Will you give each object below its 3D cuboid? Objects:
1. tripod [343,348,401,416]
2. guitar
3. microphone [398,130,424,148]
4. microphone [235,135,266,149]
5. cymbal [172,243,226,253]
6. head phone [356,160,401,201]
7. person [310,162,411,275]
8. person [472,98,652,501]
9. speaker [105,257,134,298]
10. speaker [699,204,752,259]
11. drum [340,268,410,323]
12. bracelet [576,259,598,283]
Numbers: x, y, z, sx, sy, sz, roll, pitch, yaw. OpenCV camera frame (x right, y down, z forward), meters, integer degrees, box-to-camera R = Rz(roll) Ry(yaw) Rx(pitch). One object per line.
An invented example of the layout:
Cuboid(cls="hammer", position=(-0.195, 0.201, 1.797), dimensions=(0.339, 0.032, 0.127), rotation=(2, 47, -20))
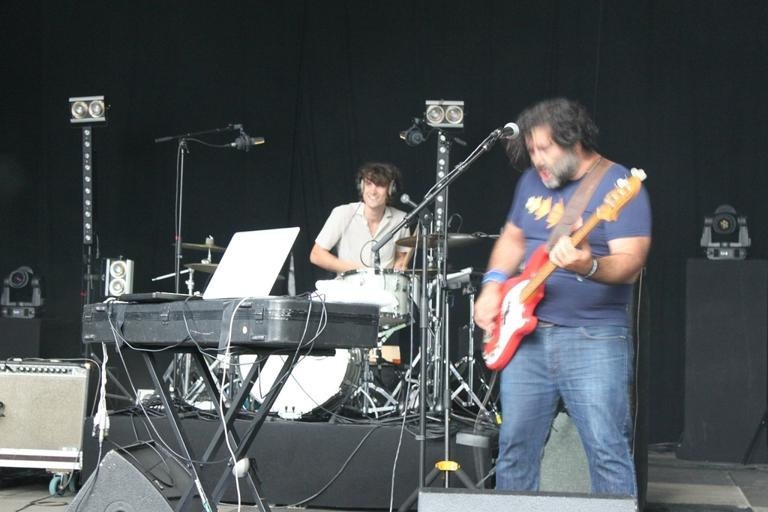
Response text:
Cuboid(cls="tripod", position=(-0.106, 1.013, 9.869), dimensions=(0.186, 0.558, 0.413), rotation=(0, -6, 37))
Cuboid(cls="guitar", position=(1.227, 0.111, 8.125), dimensions=(0.181, 1.592, 0.564), rotation=(19, 29, -21))
Cuboid(cls="microphone", position=(0.216, -0.907, 9.179), dimensions=(0.142, 0.110, 0.193), rotation=(0, 3, -24))
Cuboid(cls="microphone", position=(-1.186, -1.009, 10.759), dimensions=(0.178, 0.110, 0.231), rotation=(2, 4, 27))
Cuboid(cls="cymbal", position=(-1.577, -0.076, 10.588), dimensions=(0.182, 0.049, 0.203), rotation=(-8, -6, 21))
Cuboid(cls="head phone", position=(-0.052, -0.642, 10.618), dimensions=(0.322, 0.309, 0.344), rotation=(1, -4, 0))
Cuboid(cls="person", position=(-0.143, -0.186, 10.676), dimensions=(0.970, 1.263, 0.748), rotation=(6, -5, -22))
Cuboid(cls="person", position=(1.197, 0.260, 8.098), dimensions=(1.090, 2.650, 0.536), rotation=(2, 3, 12))
Cuboid(cls="speaker", position=(-2.294, 0.191, 10.416), dimensions=(0.262, 0.400, 0.282), rotation=(-5, -8, 41))
Cuboid(cls="speaker", position=(3.000, -0.205, 10.607), dimensions=(0.443, 0.504, 0.249), rotation=(0, -5, 11))
Cuboid(cls="drum", position=(-0.039, 0.329, 9.485), dimensions=(0.425, 0.310, 0.440), rotation=(1, -4, 0))
Cuboid(cls="bracelet", position=(1.341, 0.092, 8.006), dimensions=(0.085, 0.169, 0.206), rotation=(1, 3, -8))
